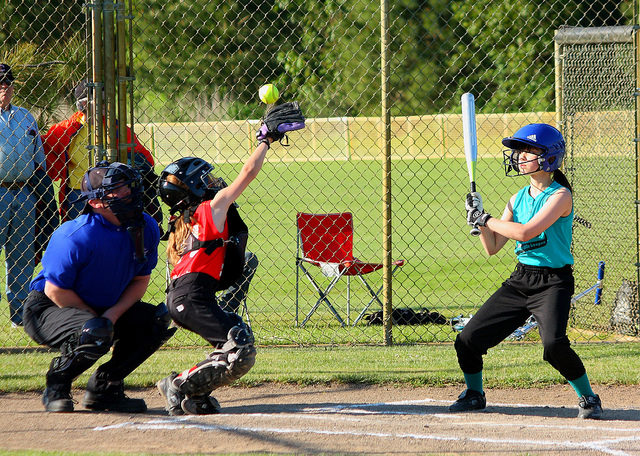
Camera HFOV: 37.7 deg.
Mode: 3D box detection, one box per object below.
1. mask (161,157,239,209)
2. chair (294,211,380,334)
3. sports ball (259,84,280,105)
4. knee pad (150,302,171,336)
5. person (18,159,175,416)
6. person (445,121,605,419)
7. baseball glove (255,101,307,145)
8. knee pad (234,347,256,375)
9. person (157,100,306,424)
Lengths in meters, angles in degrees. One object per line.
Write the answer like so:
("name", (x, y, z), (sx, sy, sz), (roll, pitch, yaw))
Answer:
("mask", (-0.905, -0.312, 7.240), (0.500, 0.440, 0.379), (-23, -12, 14))
("chair", (0.322, 0.490, 9.721), (0.865, 1.286, 0.868), (0, 1, -41))
("sports ball", (-0.406, -1.047, 7.461), (0.163, 0.155, 0.157), (-11, 9, 2))
("knee pad", (-1.250, 0.704, 7.263), (0.162, 0.247, 0.129), (-1, 4, -1))
("person", (-1.709, 0.460, 7.122), (1.073, 1.909, 0.517), (-2, 4, -17))
("person", (1.708, 0.276, 7.527), (1.164, 2.181, 1.360), (0, 4, 15))
("baseball glove", (-0.312, -0.838, 7.124), (0.334, 0.144, 0.322), (-21, -11, -33))
("knee pad", (-0.557, 0.966, 6.921), (0.123, 0.213, 0.069), (23, 36, -9))
("person", (-0.761, 0.240, 7.074), (1.000, 2.305, 0.501), (-1, 4, -1))
